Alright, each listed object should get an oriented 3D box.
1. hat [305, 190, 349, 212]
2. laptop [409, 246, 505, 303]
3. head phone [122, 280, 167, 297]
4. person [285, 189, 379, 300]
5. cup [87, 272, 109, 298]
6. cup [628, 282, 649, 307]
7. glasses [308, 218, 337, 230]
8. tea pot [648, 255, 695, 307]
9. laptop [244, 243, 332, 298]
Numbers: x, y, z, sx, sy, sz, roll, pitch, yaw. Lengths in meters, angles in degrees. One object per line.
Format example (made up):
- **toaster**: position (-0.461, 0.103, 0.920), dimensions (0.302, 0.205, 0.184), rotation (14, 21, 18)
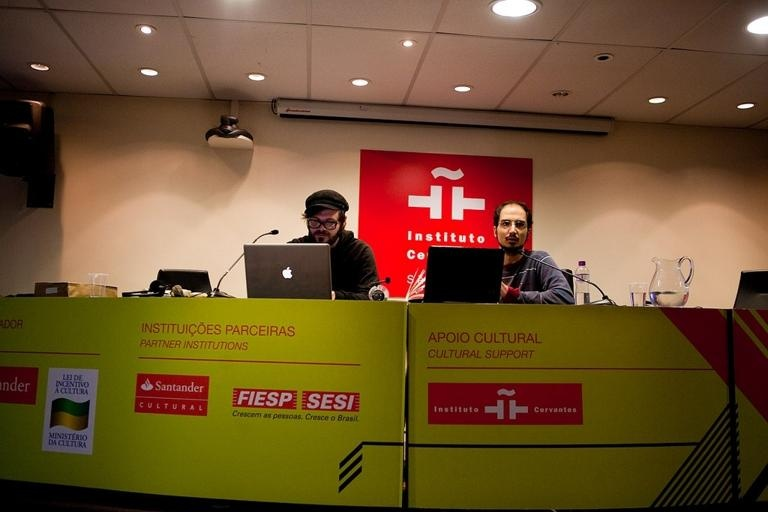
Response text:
- **hat**: position (-0.422, -0.400, 4.337), dimensions (0.295, 0.165, 0.182), rotation (3, -1, -7)
- **laptop**: position (0.464, 0.118, 3.629), dimensions (0.438, 0.333, 0.316), rotation (2, -4, 3)
- **head phone**: position (-1.520, 0.225, 3.771), dimensions (0.250, 0.104, 0.178), rotation (0, 1, -42)
- **person**: position (-0.402, -0.076, 4.329), dimensions (0.590, 0.946, 0.528), rotation (-5, -24, 7)
- **cup**: position (-1.883, 0.195, 3.893), dimensions (0.175, 0.181, 0.145), rotation (1, -3, -26)
- **cup**: position (1.618, 0.244, 3.790), dimensions (0.092, 0.137, 0.285), rotation (2, -1, 21)
- **glasses**: position (-0.448, -0.227, 4.296), dimensions (0.212, 0.079, 0.072), rotation (3, -1, -7)
- **tea pot**: position (1.687, 0.153, 3.525), dimensions (0.194, 0.286, 0.394), rotation (2, -1, 29)
- **laptop**: position (-0.565, 0.096, 3.488), dimensions (0.452, 0.328, 0.327), rotation (0, 0, 8)
